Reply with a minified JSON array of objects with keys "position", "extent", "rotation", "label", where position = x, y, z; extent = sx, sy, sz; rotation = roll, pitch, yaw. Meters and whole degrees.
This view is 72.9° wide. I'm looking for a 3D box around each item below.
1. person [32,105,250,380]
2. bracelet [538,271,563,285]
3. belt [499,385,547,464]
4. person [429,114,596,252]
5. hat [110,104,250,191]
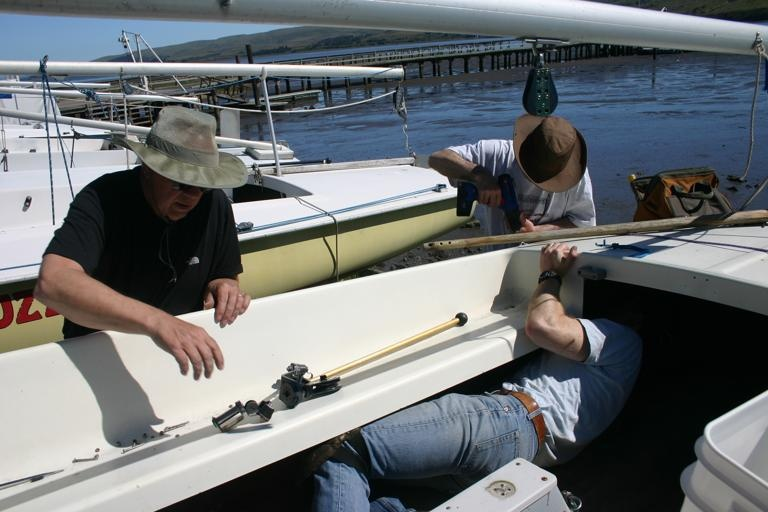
[{"position":[-0.948,-0.068,2.200],"extent":[0.677,1.462,0.751],"rotation":[-5,7,-34],"label":"person"},{"position":[0.890,0.133,2.766],"extent":[0.099,0.061,0.105],"rotation":[4,-11,-43],"label":"bracelet"},{"position":[0.569,0.769,2.396],"extent":[0.204,0.287,0.264],"rotation":[0,-4,-31],"label":"belt"},{"position":[0.907,-0.428,3.349],"extent":[0.979,0.817,1.458],"rotation":[0,-3,7],"label":"person"},{"position":[-0.812,-0.429,2.231],"extent":[0.506,0.196,0.409],"rotation":[30,10,5],"label":"hat"}]
